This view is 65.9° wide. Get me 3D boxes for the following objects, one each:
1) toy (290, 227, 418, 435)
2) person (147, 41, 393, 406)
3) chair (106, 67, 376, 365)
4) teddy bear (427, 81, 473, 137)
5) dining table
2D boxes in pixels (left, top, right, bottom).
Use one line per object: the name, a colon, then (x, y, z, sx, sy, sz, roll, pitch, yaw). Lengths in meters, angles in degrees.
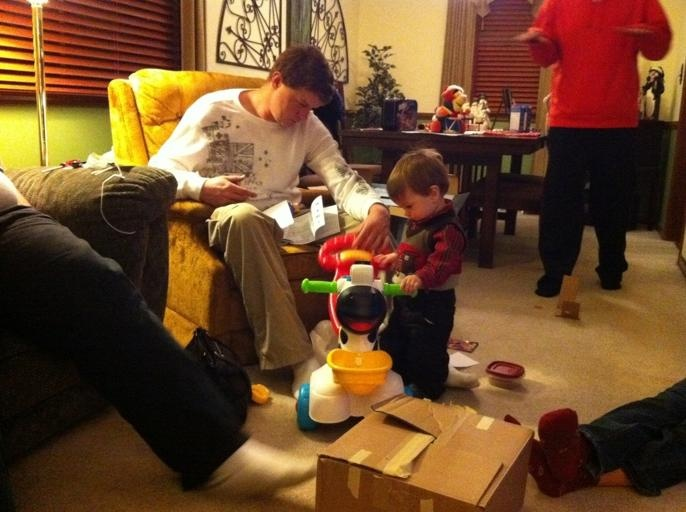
toy: (0.036, 0.242, 1.693, 0.331, 0.377, 0.573, 0, 19, -1)
person: (-0.176, -0.208, 2.815, 1.300, 1.873, 1.019, 4, 2, 31)
chair: (-0.300, -0.195, 2.771, 1.159, 1.627, 1.300, 8, 12, 40)
teddy bear: (0.797, -1.112, 3.953, 0.297, 0.368, 0.255, 1, 26, 3)
dining table: (0.793, -0.598, 3.895, 1.078, 0.830, 1.107, 5, 11, 22)
